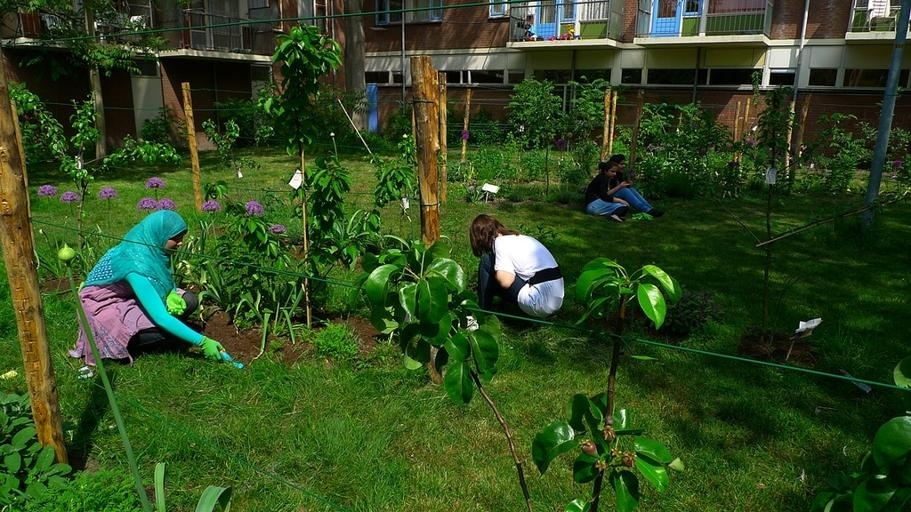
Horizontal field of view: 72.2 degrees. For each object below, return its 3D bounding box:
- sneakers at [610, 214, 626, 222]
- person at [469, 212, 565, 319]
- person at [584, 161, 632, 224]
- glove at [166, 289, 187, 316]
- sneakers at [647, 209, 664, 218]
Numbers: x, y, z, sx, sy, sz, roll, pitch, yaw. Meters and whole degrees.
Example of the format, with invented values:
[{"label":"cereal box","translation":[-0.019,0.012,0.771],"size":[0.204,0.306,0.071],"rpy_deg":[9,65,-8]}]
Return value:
[{"label":"sneakers","translation":[3.332,-0.777,12.840],"size":[0.132,0.145,0.351],"rpy_deg":[4,4,-19]},{"label":"person","translation":[0.772,0.254,8.899],"size":[1.496,1.553,1.041],"rpy_deg":[16,22,32]},{"label":"person","translation":[3.229,-1.380,13.080],"size":[0.853,1.034,0.687],"rpy_deg":[18,23,39]},{"label":"glove","translation":[-3.628,0.597,8.048],"size":[0.239,0.296,0.130],"rpy_deg":[-6,-10,-21]},{"label":"sneakers","translation":[4.188,-0.925,13.100],"size":[0.213,0.152,0.461],"rpy_deg":[-5,-10,37]}]
